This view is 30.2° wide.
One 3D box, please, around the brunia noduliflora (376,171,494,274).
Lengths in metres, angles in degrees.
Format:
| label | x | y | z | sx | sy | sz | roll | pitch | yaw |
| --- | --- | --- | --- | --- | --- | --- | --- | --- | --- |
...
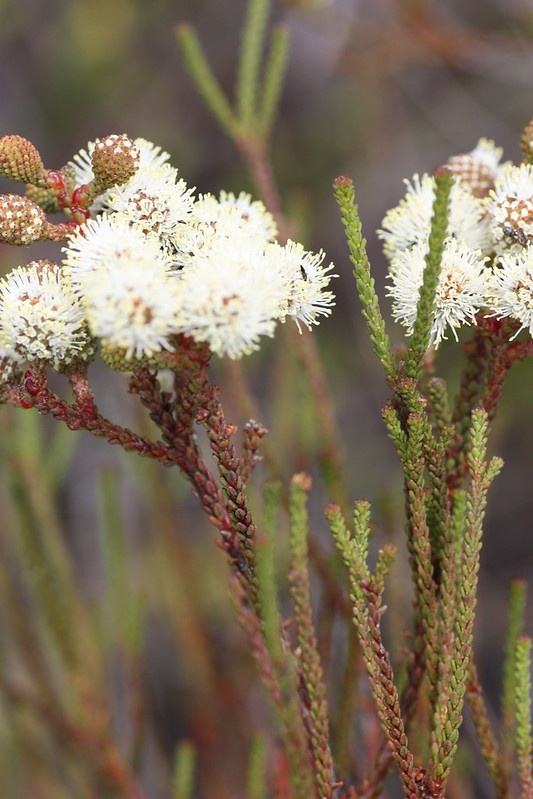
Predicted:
| label | x | y | z | sx | sy | sz | roll | pitch | yaw |
| --- | --- | --- | --- | --- | --- | --- | --- | --- | --- |
| brunia noduliflora | 0.134 | -0.159 | 0.852 | 0.090 | 0.086 | 0.081 | -2 | 49 | -4 |

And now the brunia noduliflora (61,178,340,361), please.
| label | x | y | z | sx | sy | sz | roll | pitch | yaw |
| --- | --- | --- | --- | --- | --- | --- | --- | --- | --- |
| brunia noduliflora | -0.054 | -0.104 | 0.759 | 0.200 | 0.120 | 0.219 | -9 | 22 | -10 |
